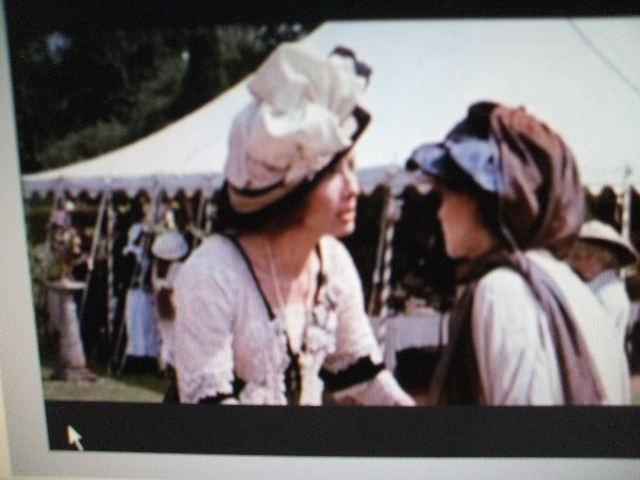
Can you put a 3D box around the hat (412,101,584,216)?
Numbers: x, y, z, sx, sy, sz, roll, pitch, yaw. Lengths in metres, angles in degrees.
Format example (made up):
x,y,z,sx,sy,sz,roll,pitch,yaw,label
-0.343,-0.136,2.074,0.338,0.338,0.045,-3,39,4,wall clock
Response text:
x,y,z,sx,sy,sz,roll,pitch,yaw,label
0.757,-0.304,3.318,0.530,0.313,0.436,18,15,-2,hat
